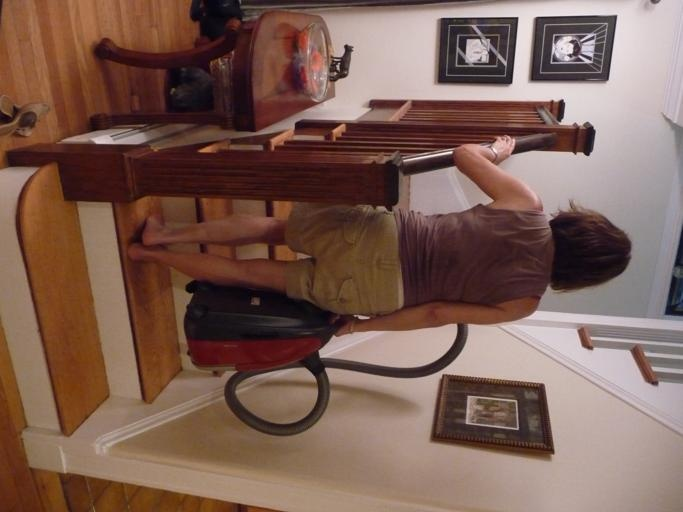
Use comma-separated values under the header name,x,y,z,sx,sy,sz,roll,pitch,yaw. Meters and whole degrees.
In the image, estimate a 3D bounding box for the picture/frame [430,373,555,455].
name,x,y,z,sx,sy,sz,roll,pitch,yaw
picture/frame,0.718,0.755,2.728,0.538,0.148,0.438,2,19,9

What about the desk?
name,x,y,z,sx,sy,sz,roll,pitch,yaw
desk,-0.639,-0.871,2.925,1.027,0.667,0.287,4,-18,4

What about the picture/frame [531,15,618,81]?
name,x,y,z,sx,sy,sz,roll,pitch,yaw
picture/frame,1.834,-1.633,4.389,0.575,0.408,0.022,4,22,2

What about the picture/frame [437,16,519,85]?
name,x,y,z,sx,sy,sz,roll,pitch,yaw
picture/frame,1.117,-1.664,4.516,0.653,0.468,0.041,4,32,8
